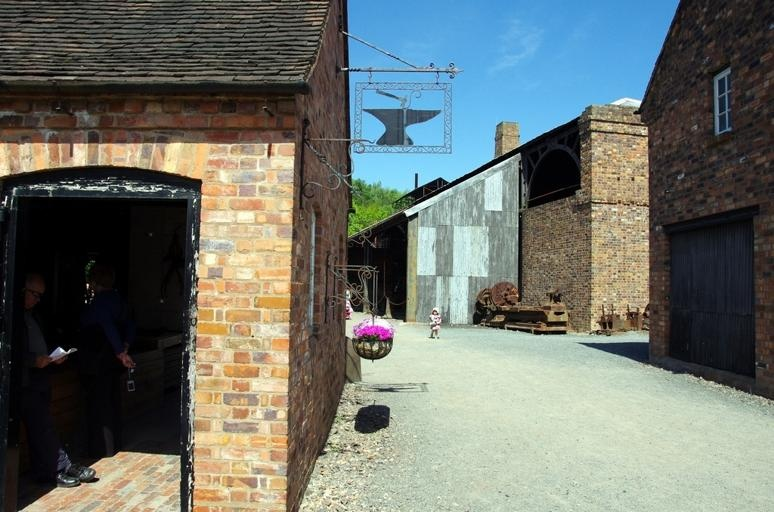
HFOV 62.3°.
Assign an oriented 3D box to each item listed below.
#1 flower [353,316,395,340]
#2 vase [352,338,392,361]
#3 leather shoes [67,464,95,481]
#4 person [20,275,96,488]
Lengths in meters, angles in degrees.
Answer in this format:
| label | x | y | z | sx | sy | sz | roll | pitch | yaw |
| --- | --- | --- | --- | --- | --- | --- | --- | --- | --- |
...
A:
| label | x | y | z | sx | sy | sz | roll | pitch | yaw |
| --- | --- | --- | --- | --- | --- | --- | --- | --- | --- |
| flower | -0.216 | 1.104 | 10.199 | 0.611 | 0.310 | 0.627 | 0 | 8 | -4 |
| vase | -0.242 | 1.430 | 10.123 | 0.416 | 0.256 | 0.425 | 1 | 0 | -9 |
| leather shoes | -4.141 | 2.971 | 8.811 | 0.427 | 0.181 | 0.159 | 9 | 24 | -4 |
| person | -4.494 | 1.671 | 8.510 | 0.710 | 2.879 | 0.468 | 0 | 8 | -4 |
